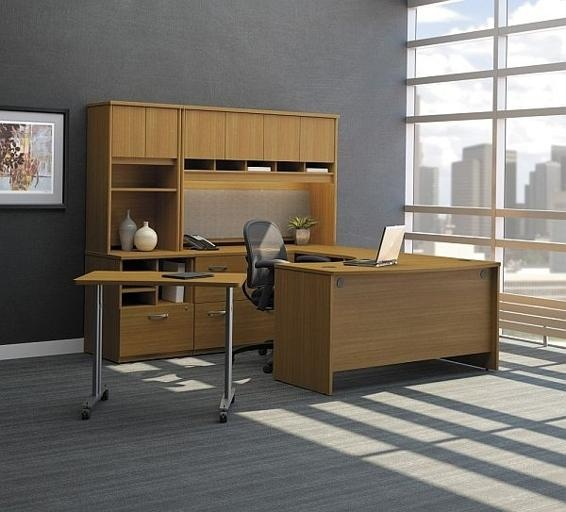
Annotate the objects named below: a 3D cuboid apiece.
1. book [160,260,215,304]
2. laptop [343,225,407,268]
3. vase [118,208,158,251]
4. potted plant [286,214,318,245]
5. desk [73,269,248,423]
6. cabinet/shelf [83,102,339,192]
[{"bbox_3d":[-0.851,0.246,4.706,0.280,0.624,0.514,-1,2,-34],"label":"book"},{"bbox_3d":[0.771,-0.083,4.457,0.433,0.287,0.483,3,5,31],"label":"laptop"},{"bbox_3d":[-1.506,-0.266,5.365,0.571,0.437,0.278,3,-2,-2],"label":"vase"},{"bbox_3d":[0.206,-0.318,6.481,0.442,0.328,0.385,1,5,-2],"label":"potted plant"},{"bbox_3d":[-0.847,0.632,3.663,1.258,0.837,0.623,0,-8,7],"label":"desk"},{"bbox_3d":[-0.668,-1.161,5.561,2.528,0.992,0.517,1,-1,-25],"label":"cabinet/shelf"}]
